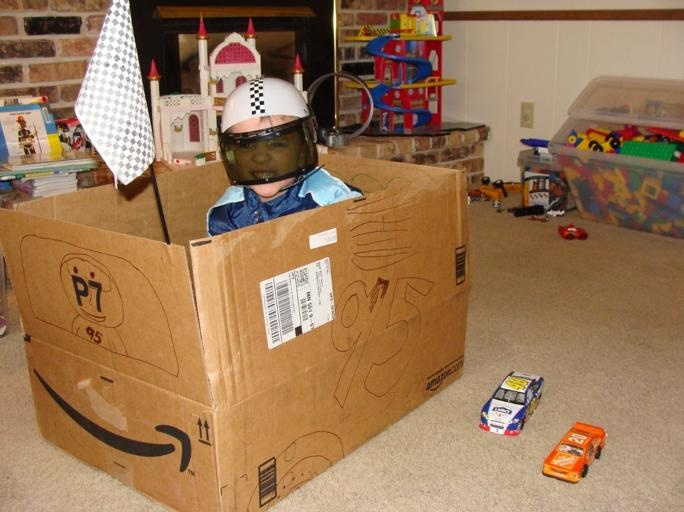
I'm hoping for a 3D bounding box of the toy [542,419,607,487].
[{"bbox_3d":[0.564,0.457,1.442,0.087,0.051,0.165,10,32,37],"label":"toy"}]

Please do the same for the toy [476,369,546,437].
[{"bbox_3d":[0.448,0.388,1.582,0.108,0.078,0.233,15,30,30],"label":"toy"}]
